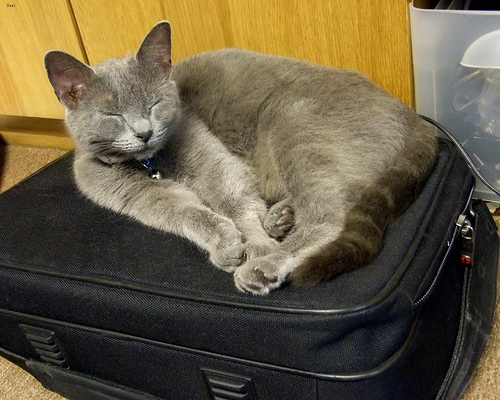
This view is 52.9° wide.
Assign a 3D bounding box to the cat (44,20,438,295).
[{"bbox_3d":[0.006,-0.097,1.263,0.635,0.381,0.885,-16,16,-16],"label":"cat"}]
